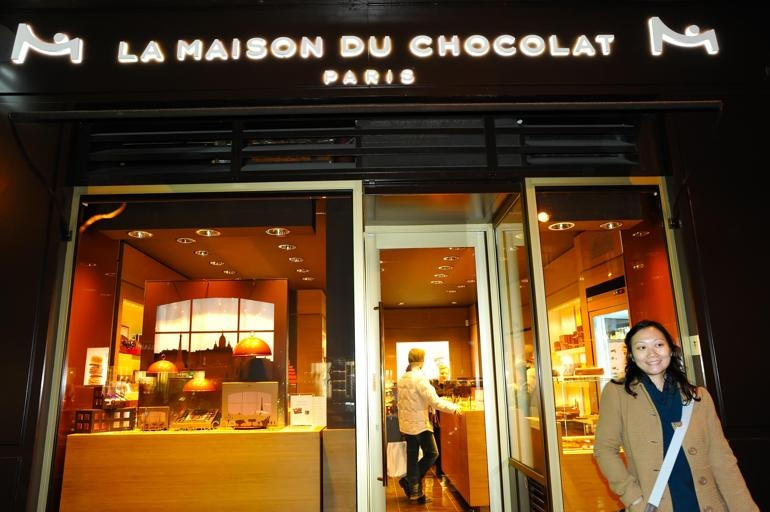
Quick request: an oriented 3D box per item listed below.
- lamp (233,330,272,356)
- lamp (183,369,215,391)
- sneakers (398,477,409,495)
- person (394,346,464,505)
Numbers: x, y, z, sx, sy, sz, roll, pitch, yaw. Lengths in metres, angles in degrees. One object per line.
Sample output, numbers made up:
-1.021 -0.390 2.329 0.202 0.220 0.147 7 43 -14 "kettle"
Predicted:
-1.376 0.941 6.382 0.496 0.304 0.481 -1 -14 -1 "lamp"
-1.855 1.245 6.019 0.287 0.195 0.374 10 -20 -30 "lamp"
0.190 2.293 6.019 0.090 0.205 0.072 -6 12 31 "sneakers"
0.355 1.721 6.126 0.552 1.522 0.683 3 -19 -10 "person"
